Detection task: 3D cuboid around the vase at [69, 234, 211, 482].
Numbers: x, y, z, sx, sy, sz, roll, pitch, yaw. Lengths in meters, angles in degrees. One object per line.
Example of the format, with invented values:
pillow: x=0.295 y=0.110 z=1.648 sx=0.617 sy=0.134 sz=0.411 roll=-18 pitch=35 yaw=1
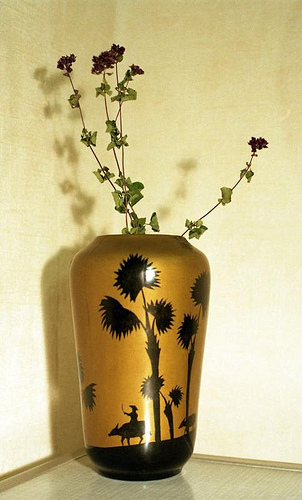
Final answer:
vase: x=-0.017 y=0.163 z=0.803 sx=0.201 sy=0.371 sz=0.090 roll=1 pitch=-3 yaw=-10
